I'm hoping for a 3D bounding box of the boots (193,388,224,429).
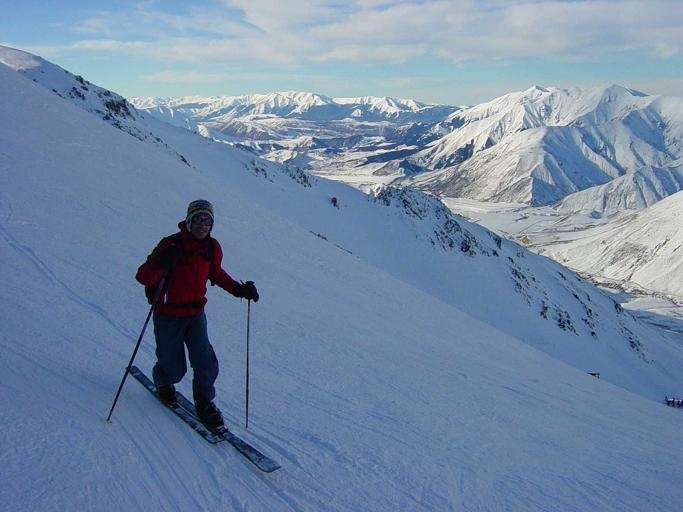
[{"bbox_3d":[-2.070,2.383,10.289,0.642,0.244,0.222,40,44,13],"label":"boots"}]

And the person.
[{"bbox_3d":[-2.305,0.823,10.122,1.596,3.327,1.031,14,18,-2],"label":"person"}]

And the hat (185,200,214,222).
[{"bbox_3d":[-2.160,-0.688,10.050,0.410,0.287,0.328,7,0,26],"label":"hat"}]
